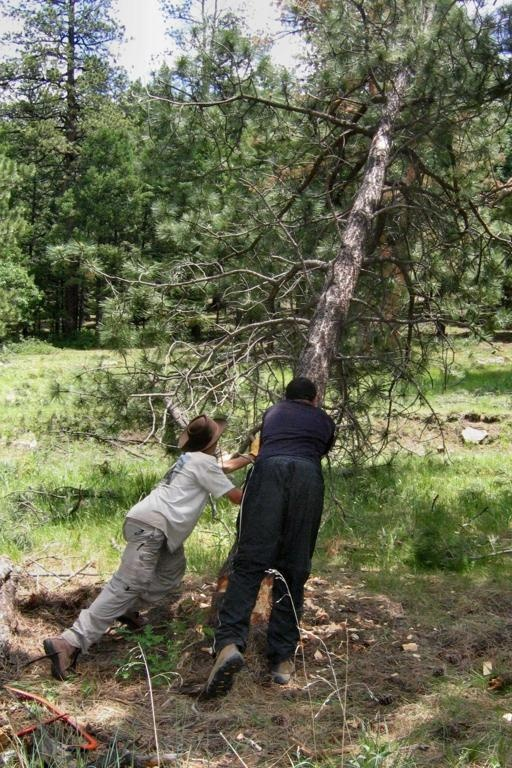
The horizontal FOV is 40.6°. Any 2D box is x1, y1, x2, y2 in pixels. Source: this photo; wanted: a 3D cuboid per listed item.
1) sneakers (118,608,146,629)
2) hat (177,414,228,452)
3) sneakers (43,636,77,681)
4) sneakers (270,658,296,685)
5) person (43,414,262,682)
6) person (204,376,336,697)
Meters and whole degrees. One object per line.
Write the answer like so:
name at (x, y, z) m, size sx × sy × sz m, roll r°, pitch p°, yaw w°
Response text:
sneakers at (-0.729, 1.430, 4.178) m, size 0.204 × 0.093 × 0.075 m, roll 34°, pitch 3°, yaw -37°
hat at (-0.309, 0.276, 4.034) m, size 0.212 × 0.244 × 0.088 m, roll 20°, pitch -33°, yaw 34°
sneakers at (-0.991, 1.373, 3.506) m, size 0.152 × 0.281 × 0.098 m, roll -9°, pitch 8°, yaw -6°
sneakers at (0.136, 1.539, 3.699) m, size 0.064 × 0.123 × 0.186 m, roll 5°, pitch -8°, yaw 17°
person at (-0.572, 0.881, 3.985) m, size 0.555 × 1.286 × 1.448 m, roll 1°, pitch -2°, yaw 43°
person at (0.112, 0.777, 3.695) m, size 0.470 × 1.585 × 0.919 m, roll 6°, pitch 5°, yaw 7°
